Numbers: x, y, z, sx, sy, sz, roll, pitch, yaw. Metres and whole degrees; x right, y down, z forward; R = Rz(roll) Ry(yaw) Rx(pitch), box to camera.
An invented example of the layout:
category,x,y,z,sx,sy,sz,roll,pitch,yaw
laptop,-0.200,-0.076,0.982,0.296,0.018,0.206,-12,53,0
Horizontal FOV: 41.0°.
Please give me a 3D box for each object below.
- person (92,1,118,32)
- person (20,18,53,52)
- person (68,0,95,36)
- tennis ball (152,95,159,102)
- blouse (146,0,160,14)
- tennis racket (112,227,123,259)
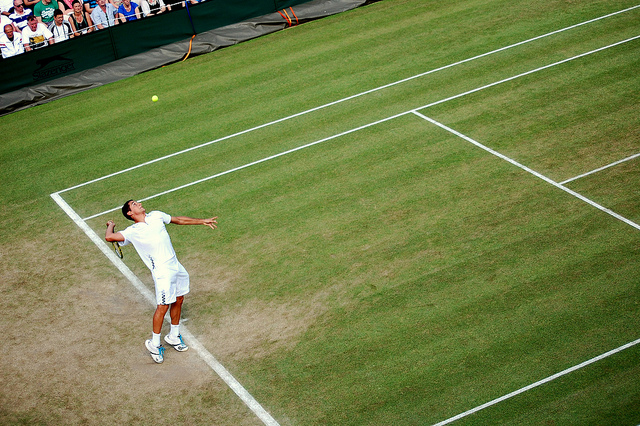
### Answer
category,x,y,z,sx,sy,sz,roll,pitch,yaw
person,-6.569,-6.058,26.106,0.769,0.858,0.499,-32,49,-12
person,-8.482,-5.299,25.460,0.858,1.072,0.640,-23,69,-26
person,-7.265,-5.974,25.975,0.704,1.008,0.729,-37,69,-19
tennis ball,-4.639,-3.238,24.150,0.205,0.084,0.174,0,19,-14
blouse,-5.180,-6.501,26.877,0.468,0.510,0.262,-13,74,-7
tennis racket,-4.160,0.639,17.540,0.103,0.251,0.833,-19,27,-18
